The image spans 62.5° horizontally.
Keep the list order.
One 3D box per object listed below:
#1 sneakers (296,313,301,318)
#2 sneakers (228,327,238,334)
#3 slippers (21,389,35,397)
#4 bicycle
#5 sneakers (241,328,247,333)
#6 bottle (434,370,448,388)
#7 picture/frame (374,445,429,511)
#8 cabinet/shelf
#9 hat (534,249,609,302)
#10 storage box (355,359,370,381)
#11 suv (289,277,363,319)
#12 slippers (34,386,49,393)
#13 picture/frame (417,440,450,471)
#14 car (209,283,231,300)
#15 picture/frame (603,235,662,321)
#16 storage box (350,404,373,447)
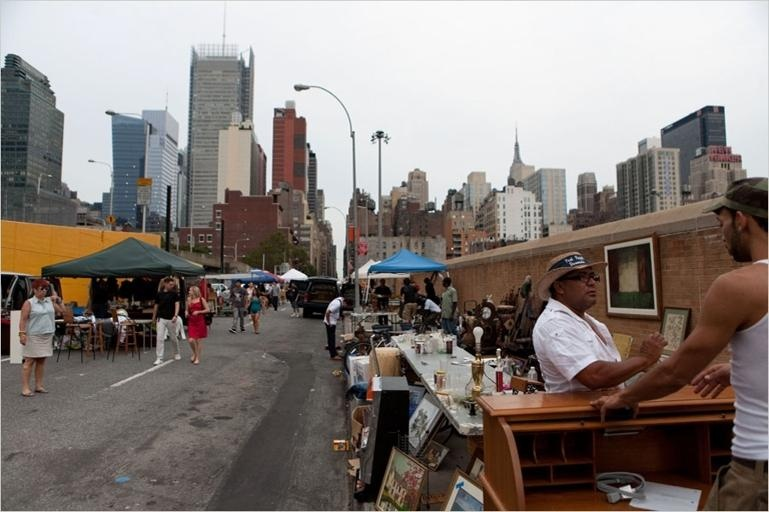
[{"bbox_3d":[-4.567,3.154,33.802,0.293,0.288,0.147,12,-6,20],"label":"sneakers"},{"bbox_3d":[-5.533,2.741,23.175,0.160,0.205,0.483,1,-22,-1],"label":"sneakers"},{"bbox_3d":[-7.121,2.714,12.622,0.105,0.139,0.346,4,-11,-42],"label":"slippers"},{"bbox_3d":[0.006,2.033,12.993,1.742,1.048,0.859,0,-6,-1],"label":"bicycle"},{"bbox_3d":[-5.248,2.741,23.652,0.212,0.216,0.132,2,-2,-5],"label":"sneakers"},{"bbox_3d":[0.825,1.732,8.927,0.192,0.220,0.194,1,1,9],"label":"bottle"},{"bbox_3d":[0.201,3.002,8.550,0.769,0.944,0.119,10,-16,45],"label":"picture/frame"},{"bbox_3d":[2.413,2.633,7.558,2.605,1.375,1.376,1,-13,-4],"label":"cabinet/shelf"},{"bbox_3d":[2.228,0.166,7.766,0.618,0.271,0.696,6,-30,-46],"label":"hat"},{"bbox_3d":[-0.385,2.042,11.722,0.288,0.523,0.543,1,2,-1],"label":"storage box"},{"bbox_3d":[-3.266,2.103,32.853,2.029,1.438,2.886,1,2,3],"label":"suv"},{"bbox_3d":[-6.933,2.691,12.827,0.276,0.111,0.092,-1,1,-9],"label":"slippers"},{"bbox_3d":[0.771,3.028,9.678,0.446,0.114,0.484,-8,30,39],"label":"picture/frame"},{"bbox_3d":[-10.313,2.188,39.641,1.223,1.095,2.111,1,6,1],"label":"car"},{"bbox_3d":[4.995,0.423,12.574,0.188,1.798,1.572,1,-7,-19],"label":"picture/frame"},{"bbox_3d":[-0.384,2.737,10.223,0.292,0.631,0.842,1,8,-3],"label":"storage box"}]
